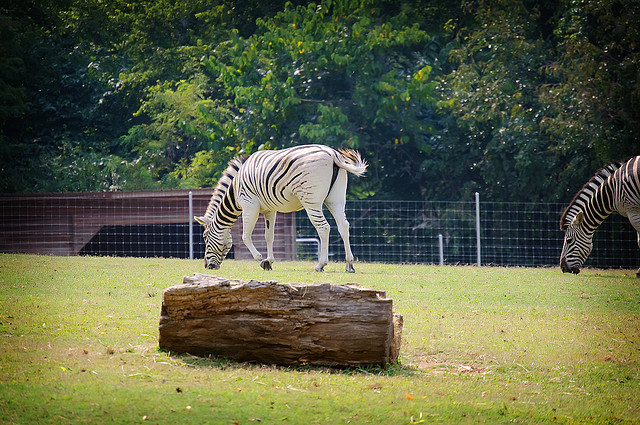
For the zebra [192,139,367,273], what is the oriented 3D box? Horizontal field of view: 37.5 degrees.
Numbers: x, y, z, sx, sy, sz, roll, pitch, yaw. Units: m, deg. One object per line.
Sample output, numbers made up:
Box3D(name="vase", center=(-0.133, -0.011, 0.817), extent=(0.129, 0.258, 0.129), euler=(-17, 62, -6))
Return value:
Box3D(name="zebra", center=(-1.097, -0.066, 28.423), extent=(3.553, 4.138, 9.666), euler=(2, -5, -17))
